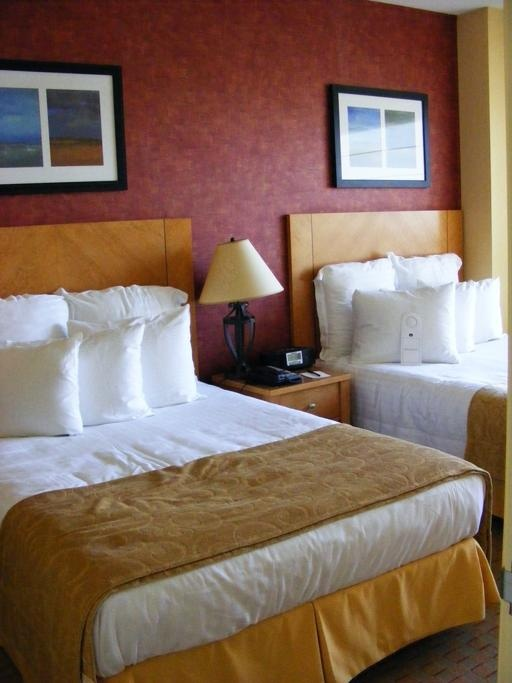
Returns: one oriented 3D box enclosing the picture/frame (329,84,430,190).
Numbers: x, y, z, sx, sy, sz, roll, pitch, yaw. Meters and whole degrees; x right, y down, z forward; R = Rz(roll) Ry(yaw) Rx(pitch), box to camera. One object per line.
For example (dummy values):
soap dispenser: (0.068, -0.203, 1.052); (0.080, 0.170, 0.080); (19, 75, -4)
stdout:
picture/frame: (0.900, -1.458, 4.030); (0.934, 0.674, 0.043); (-10, 11, -30)

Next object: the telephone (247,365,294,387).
telephone: (0.075, 0.185, 3.073); (0.200, 0.065, 0.111); (9, 12, 44)
